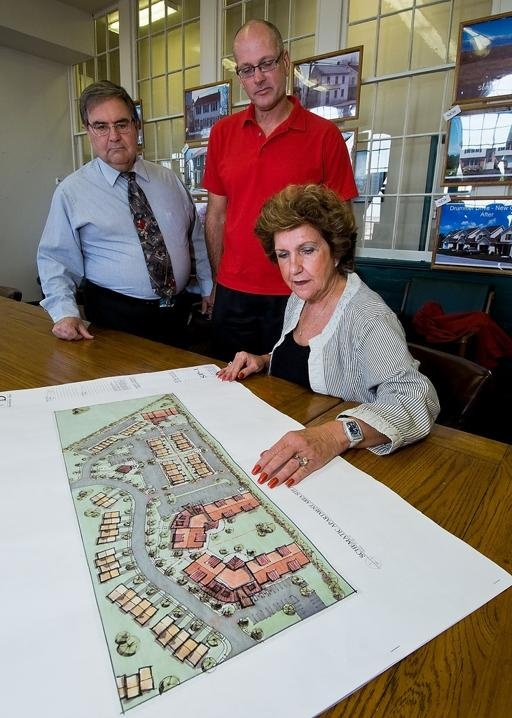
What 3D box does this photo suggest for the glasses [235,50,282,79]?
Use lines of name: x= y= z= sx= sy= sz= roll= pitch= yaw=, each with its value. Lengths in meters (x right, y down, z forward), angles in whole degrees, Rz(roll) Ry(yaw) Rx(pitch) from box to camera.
glasses: x=0.005 y=-0.990 z=1.663 sx=0.156 sy=0.095 sz=0.095 roll=0 pitch=17 yaw=1

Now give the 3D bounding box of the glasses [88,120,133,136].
glasses: x=-0.472 y=-0.748 z=1.605 sx=0.124 sy=0.048 sz=0.049 roll=-4 pitch=17 yaw=-14

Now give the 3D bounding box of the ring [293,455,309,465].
ring: x=0.063 y=0.144 z=0.711 sx=0.012 sy=0.006 sz=0.015 roll=-5 pitch=21 yaw=-24

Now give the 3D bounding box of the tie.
tie: x=-0.383 y=-0.430 z=1.756 sx=0.117 sy=0.492 sz=0.023 roll=-16 pitch=-3 yaw=-22

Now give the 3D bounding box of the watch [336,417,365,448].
watch: x=0.147 y=0.111 z=0.777 sx=0.030 sy=0.044 sz=0.044 roll=-19 pitch=54 yaw=-20
